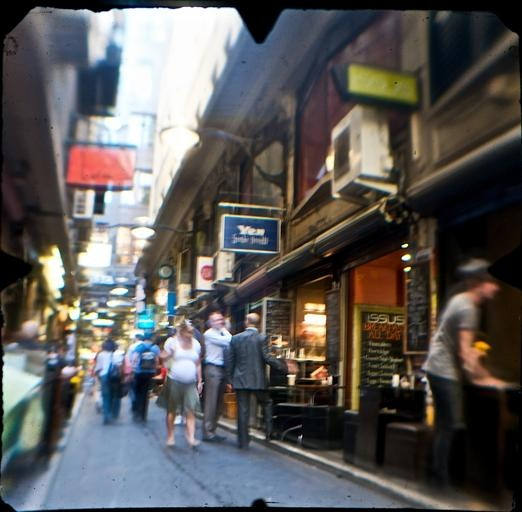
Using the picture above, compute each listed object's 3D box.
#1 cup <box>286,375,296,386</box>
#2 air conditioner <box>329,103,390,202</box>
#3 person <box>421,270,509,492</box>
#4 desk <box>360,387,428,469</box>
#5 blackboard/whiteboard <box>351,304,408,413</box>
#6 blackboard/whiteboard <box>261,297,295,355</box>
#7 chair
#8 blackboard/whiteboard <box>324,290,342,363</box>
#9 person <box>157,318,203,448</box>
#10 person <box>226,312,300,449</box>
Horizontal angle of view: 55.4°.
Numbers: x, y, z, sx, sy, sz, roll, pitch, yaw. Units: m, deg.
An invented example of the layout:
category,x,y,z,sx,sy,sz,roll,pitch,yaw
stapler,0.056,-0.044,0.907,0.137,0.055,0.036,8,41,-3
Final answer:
category,x,y,z,sx,sy,sz,roll,pitch,yaw
cup,0.446,1.837,7.333,0.131,0.165,0.139,0,0,0
air conditioner,1.226,-1.200,5.987,0.557,0.885,1.030,4,-10,-24
person,1.368,0.791,3.332,0.532,1.517,0.340,-5,-8,19
desk,1.221,1.569,5.091,0.594,0.914,0.897,3,-8,-14
blackboard/whiteboard,1.687,1.488,7.297,1.401,1.753,0.086,12,-20,-33
blackboard/whiteboard,0.324,1.414,9.803,0.554,1.740,0.528,3,31,7
chair,0.663,2.206,6.446,0.379,0.481,1.218,10,-17,-23
blackboard/whiteboard,1.119,0.910,7.933,0.378,0.739,0.049,1,-1,-38
person,-0.939,1.516,5.922,0.409,1.477,0.349,-1,-8,-12
person,-0.094,1.565,6.317,0.694,1.641,0.559,0,-8,-15
